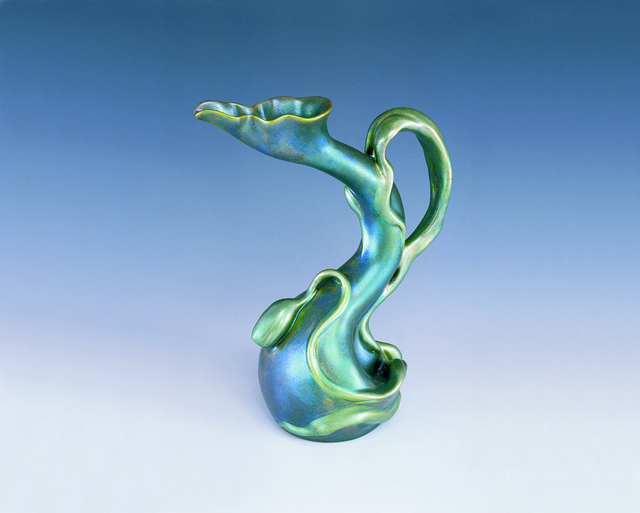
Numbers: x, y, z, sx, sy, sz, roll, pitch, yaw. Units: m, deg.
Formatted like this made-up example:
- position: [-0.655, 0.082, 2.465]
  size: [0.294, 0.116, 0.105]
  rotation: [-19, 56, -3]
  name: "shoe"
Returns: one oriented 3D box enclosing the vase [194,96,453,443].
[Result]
- position: [0.057, 0.036, 2.420]
  size: [0.642, 0.504, 1.078]
  rotation: [-4, -62, -9]
  name: "vase"
